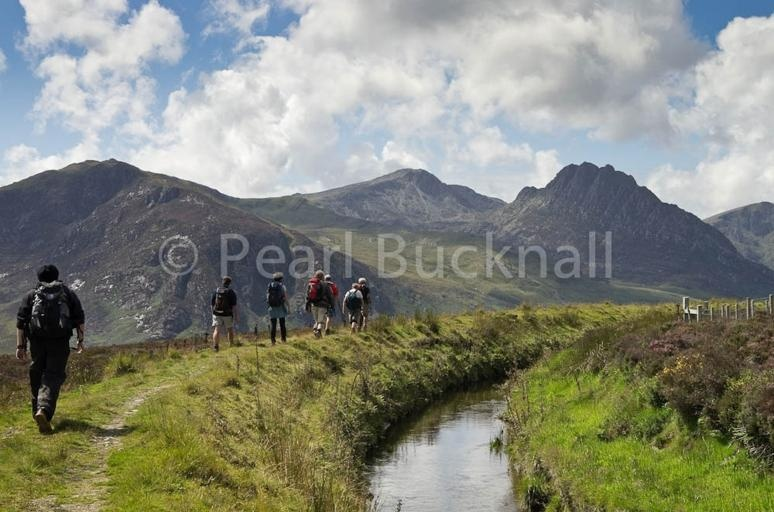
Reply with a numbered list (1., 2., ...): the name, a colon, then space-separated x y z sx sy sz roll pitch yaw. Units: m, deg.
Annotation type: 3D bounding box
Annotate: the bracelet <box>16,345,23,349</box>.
1. bracelet: -10.656 2.638 17.601 0.145 0.108 0.146 11 -24 -35
